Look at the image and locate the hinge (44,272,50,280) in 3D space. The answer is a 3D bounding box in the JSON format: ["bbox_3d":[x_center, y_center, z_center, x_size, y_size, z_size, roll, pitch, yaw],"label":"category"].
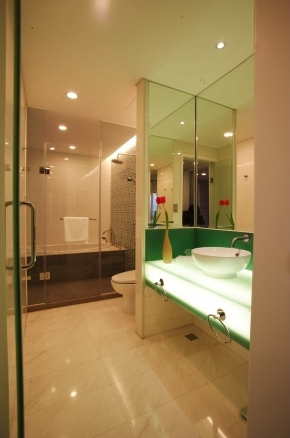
[{"bbox_3d":[-1.039,0.607,3.259,0.056,0.083,0.030,-3,5,-39],"label":"hinge"}]

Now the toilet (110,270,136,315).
[{"bbox_3d":[-0.215,0.734,3.033,0.237,0.351,0.418,0,4,-4],"label":"toilet"}]

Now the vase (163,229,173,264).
[{"bbox_3d":[0.173,0.205,2.334,0.066,0.251,0.163,0,4,4],"label":"vase"}]

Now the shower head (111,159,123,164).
[{"bbox_3d":[-0.327,-0.708,3.713,0.140,0.058,0.101,-1,4,-16],"label":"shower head"}]

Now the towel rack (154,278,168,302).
[{"bbox_3d":[0.115,0.498,2.141,0.057,0.152,0.096,-12,1,-8],"label":"towel rack"}]

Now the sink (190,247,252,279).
[{"bbox_3d":[0.452,0.265,1.809,0.339,0.173,0.367,3,3,31],"label":"sink"}]

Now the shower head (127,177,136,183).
[{"bbox_3d":[-0.160,-0.465,3.582,0.026,0.075,0.199,-2,4,-24],"label":"shower head"}]
